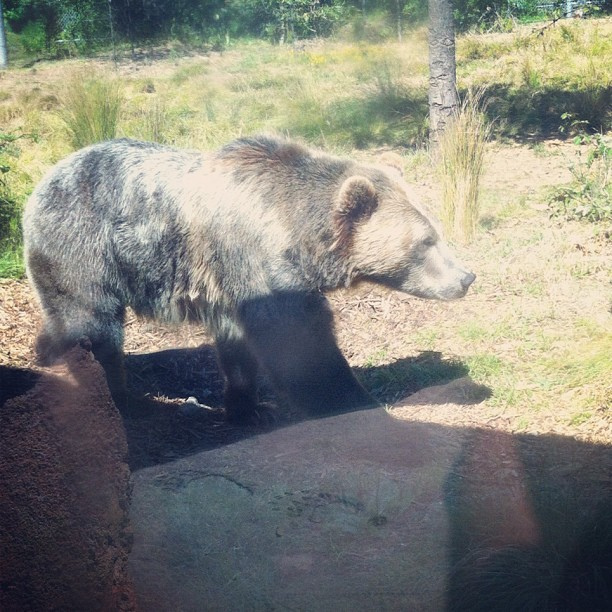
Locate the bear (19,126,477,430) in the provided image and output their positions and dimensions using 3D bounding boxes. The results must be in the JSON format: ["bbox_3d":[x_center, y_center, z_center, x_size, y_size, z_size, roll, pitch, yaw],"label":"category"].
[{"bbox_3d":[-0.298,-0.163,6.900,4.351,2.109,1.365,6,19,39],"label":"bear"}]
